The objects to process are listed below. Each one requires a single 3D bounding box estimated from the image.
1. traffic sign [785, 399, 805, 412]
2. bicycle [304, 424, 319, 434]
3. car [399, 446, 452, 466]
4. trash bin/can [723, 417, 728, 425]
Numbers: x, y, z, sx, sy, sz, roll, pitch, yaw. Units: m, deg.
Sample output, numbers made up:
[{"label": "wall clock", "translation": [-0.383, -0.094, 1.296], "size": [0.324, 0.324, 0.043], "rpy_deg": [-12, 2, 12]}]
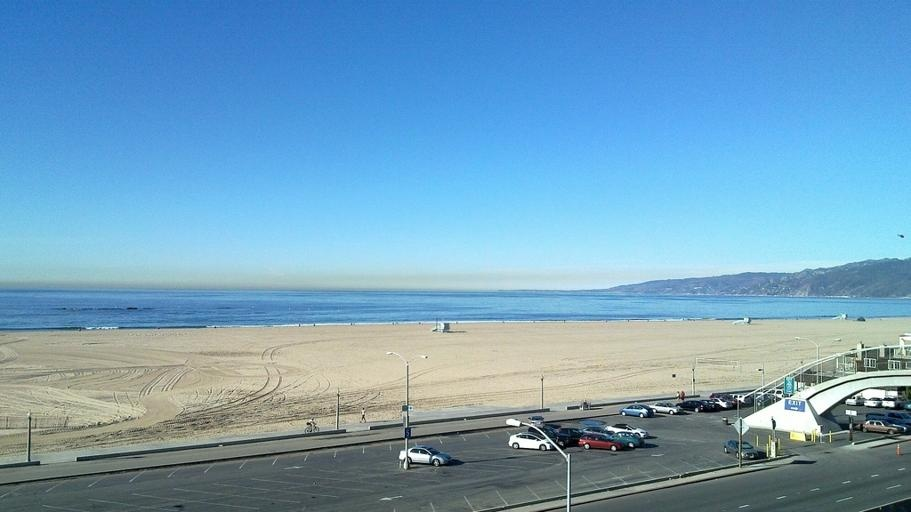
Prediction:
[{"label": "traffic sign", "translation": [39.557, 17.712, 73.860], "size": [2.221, 1.165, 0.297], "rpy_deg": [-1, -1, 32]}, {"label": "bicycle", "translation": [-17.512, 21.210, 76.674], "size": [2.585, 1.122, 1.148], "rpy_deg": [-2, 3, 6]}, {"label": "car", "translation": [-3.253, 21.786, 67.838], "size": [5.530, 1.270, 2.048], "rpy_deg": [-1, 1, 7]}, {"label": "trash bin/can", "translation": [33.564, 20.961, 78.935], "size": [0.713, 0.864, 1.026], "rpy_deg": [0, -6, -12]}]
